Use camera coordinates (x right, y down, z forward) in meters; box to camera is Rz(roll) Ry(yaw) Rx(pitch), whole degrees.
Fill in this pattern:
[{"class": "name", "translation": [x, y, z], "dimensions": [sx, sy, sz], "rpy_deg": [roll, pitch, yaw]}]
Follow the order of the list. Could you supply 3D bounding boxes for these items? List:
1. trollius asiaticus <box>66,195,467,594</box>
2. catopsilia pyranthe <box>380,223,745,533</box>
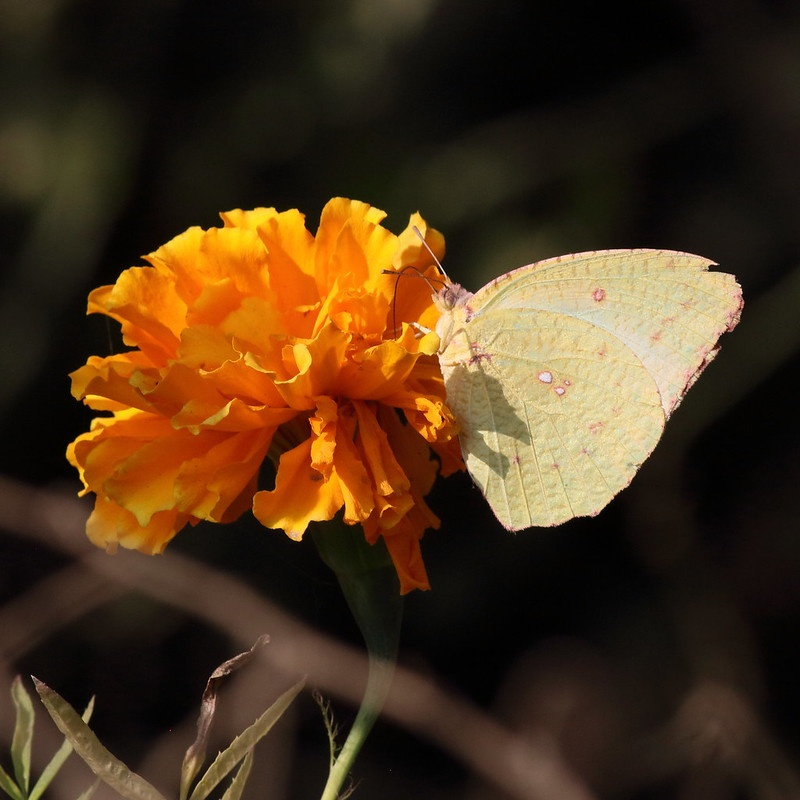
[{"class": "trollius asiaticus", "translation": [-0.161, -0.015, 1.251], "dimensions": [0.486, 0.411, 0.338], "rpy_deg": [2, 28, -1]}, {"class": "catopsilia pyranthe", "translation": [0.202, -0.029, 1.461], "dimensions": [0.484, 0.470, 0.311], "rpy_deg": [1, 5, -8]}]
